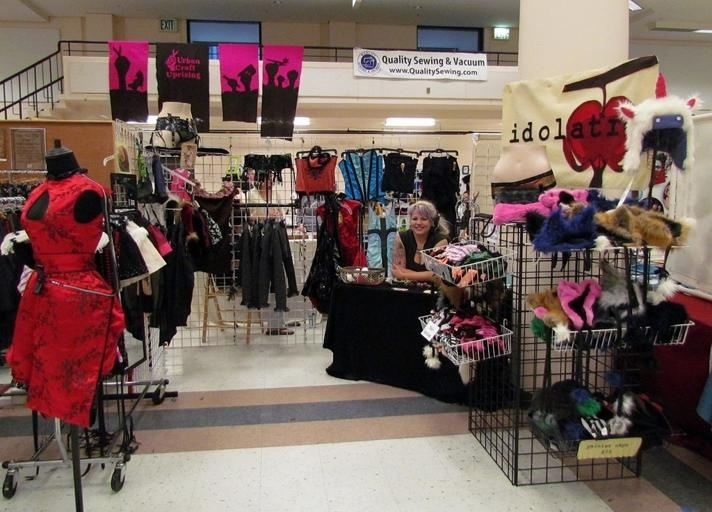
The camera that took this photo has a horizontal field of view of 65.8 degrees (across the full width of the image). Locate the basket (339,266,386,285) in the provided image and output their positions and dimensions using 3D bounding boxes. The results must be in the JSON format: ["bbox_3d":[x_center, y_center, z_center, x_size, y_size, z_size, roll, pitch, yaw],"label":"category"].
[{"bbox_3d":[0.055,0.192,5.324,0.287,0.093,0.200,4,3,28],"label":"basket"}]

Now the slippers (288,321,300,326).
[{"bbox_3d":[-0.797,0.867,7.029,0.172,0.069,0.062,1,-3,-13],"label":"slippers"}]

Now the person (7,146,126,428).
[{"bbox_3d":[-1.897,0.193,3.537,0.538,1.719,0.553,8,16,34],"label":"person"}]

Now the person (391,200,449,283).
[{"bbox_3d":[0.604,-0.126,5.200,0.538,0.783,0.413,1,14,9],"label":"person"}]

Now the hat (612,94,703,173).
[{"bbox_3d":[1.824,-0.758,3.362,0.584,0.572,0.328,-2,8,2],"label":"hat"}]

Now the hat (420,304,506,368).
[{"bbox_3d":[0.786,0.564,3.841,0.416,0.208,0.650,-4,12,-11],"label":"hat"}]

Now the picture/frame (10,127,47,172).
[{"bbox_3d":[-2.922,-0.920,4.927,0.303,0.381,0.284,-3,-3,-26],"label":"picture/frame"}]
